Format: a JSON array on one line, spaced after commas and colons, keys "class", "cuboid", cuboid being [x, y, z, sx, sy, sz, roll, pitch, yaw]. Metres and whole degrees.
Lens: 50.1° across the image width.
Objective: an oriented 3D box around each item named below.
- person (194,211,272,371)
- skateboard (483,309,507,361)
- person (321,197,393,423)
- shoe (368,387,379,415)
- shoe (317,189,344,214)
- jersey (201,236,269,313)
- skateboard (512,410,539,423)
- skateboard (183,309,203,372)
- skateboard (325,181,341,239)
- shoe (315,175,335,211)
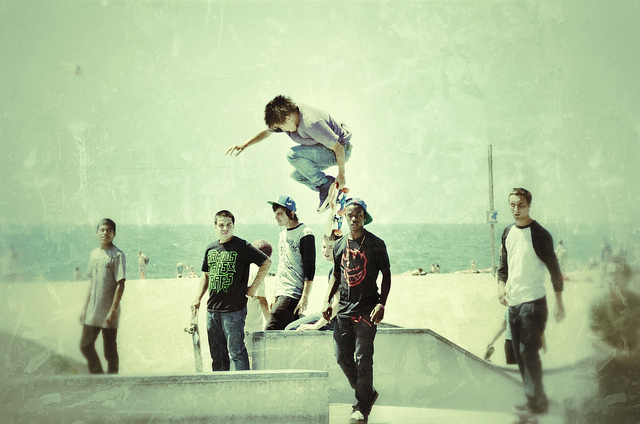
[{"class": "person", "cuboid": [-1.075, 0.932, 8.261, 0.851, 1.890, 0.295, 0, -4, -11]}, {"class": "skateboard", "cuboid": [2.180, 1.541, 8.485, 0.134, 0.596, 0.188, 32, 4, 31]}, {"class": "person", "cuboid": [0.420, 1.101, 7.899, 0.766, 2.521, 0.550, -1, -4, 0]}, {"class": "shoe", "cuboid": [0.613, 2.161, 7.866, 0.103, 0.270, 0.420, -1, -4, 7]}, {"class": "shoe", "cuboid": [0.126, -0.102, 8.798, 0.161, 0.484, 0.191, 36, -10, 5]}, {"class": "jersey", "cuboid": [-1.114, 0.732, 8.349, 0.944, 0.920, 0.400, -3, -6, 26]}, {"class": "skateboard", "cuboid": [2.468, 2.457, 8.250, 0.313, 0.147, 0.056, -1, -4, -3]}, {"class": "skateboard", "cuboid": [-1.542, 1.603, 8.441, 0.212, 0.834, 0.122, -3, 1, 32]}, {"class": "skateboard", "cuboid": [0.162, -0.084, 8.815, 0.200, 0.494, 0.324, 5, 28, -16]}, {"class": "shoe", "cuboid": [0.067, -0.278, 8.830, 0.247, 0.564, 0.168, 7, -3, -7]}]
